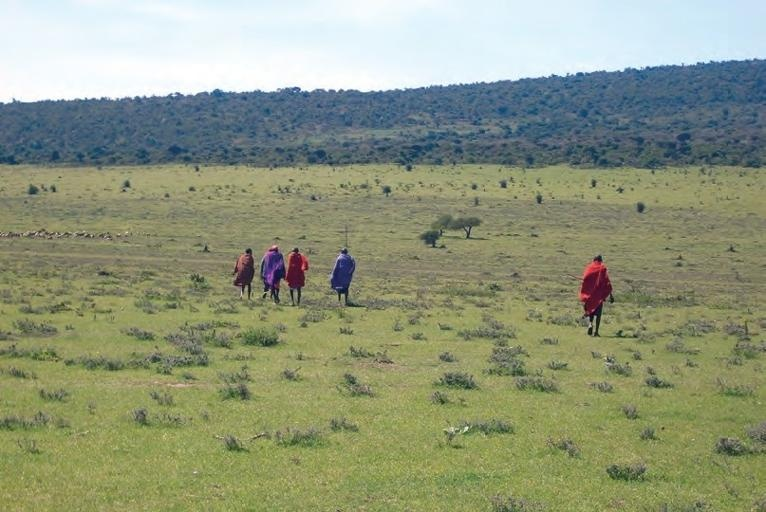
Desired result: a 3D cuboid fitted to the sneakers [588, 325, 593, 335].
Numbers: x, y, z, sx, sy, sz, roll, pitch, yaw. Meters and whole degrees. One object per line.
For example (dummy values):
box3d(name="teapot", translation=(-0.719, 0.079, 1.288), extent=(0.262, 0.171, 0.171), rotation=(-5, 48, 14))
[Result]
box3d(name="sneakers", translation=(8.603, 3.062, 38.248), extent=(0.109, 0.352, 0.208), rotation=(0, 35, 12))

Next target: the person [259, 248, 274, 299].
box3d(name="person", translation=(-5.244, 0.563, 43.023), extent=(0.561, 2.201, 1.054), rotation=(-3, 11, -27))
